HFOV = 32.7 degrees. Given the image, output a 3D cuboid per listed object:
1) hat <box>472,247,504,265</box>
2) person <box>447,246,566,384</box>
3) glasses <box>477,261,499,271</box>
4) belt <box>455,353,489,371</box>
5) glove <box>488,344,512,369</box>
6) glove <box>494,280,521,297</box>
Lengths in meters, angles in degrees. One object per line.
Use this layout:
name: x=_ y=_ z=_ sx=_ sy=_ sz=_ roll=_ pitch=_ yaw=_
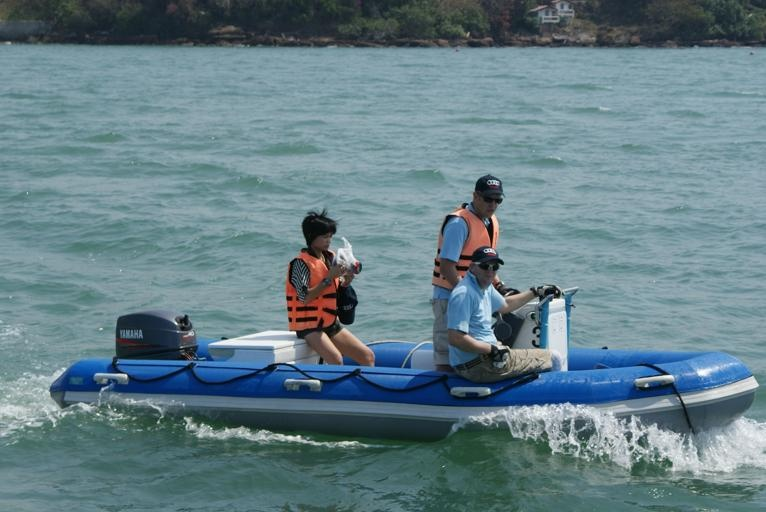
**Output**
hat: x=1.813 y=-0.020 z=23.413 sx=0.366 sy=0.191 sz=0.454 roll=4 pitch=-1 yaw=-29
person: x=2.020 y=1.090 z=23.578 sx=1.784 sy=2.501 sz=0.560 roll=-2 pitch=15 yaw=-5
glasses: x=1.896 y=0.208 z=23.434 sx=0.420 sy=0.202 sz=0.169 roll=-4 pitch=13 yaw=-17
belt: x=1.607 y=1.955 z=23.697 sx=0.427 sy=0.121 sz=0.301 roll=-18 pitch=1 yaw=-3
glove: x=2.104 y=1.824 z=23.621 sx=0.532 sy=0.392 sz=0.328 roll=-7 pitch=14 yaw=-5
glove: x=2.295 y=0.617 z=24.313 sx=0.437 sy=0.129 sz=0.273 roll=10 pitch=-5 yaw=-2
